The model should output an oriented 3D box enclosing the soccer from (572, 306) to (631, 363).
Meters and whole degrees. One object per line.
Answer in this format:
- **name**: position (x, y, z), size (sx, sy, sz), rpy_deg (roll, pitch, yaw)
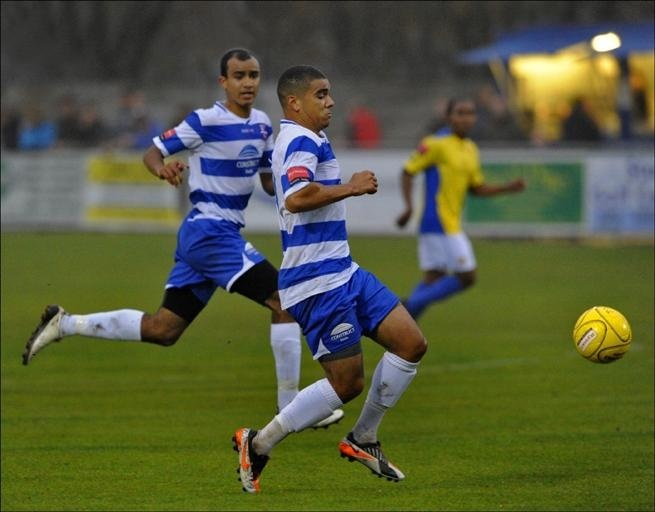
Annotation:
- **soccer**: position (2.294, 0.700, 9.719), size (0.451, 0.483, 0.255), rpy_deg (3, 15, 12)
